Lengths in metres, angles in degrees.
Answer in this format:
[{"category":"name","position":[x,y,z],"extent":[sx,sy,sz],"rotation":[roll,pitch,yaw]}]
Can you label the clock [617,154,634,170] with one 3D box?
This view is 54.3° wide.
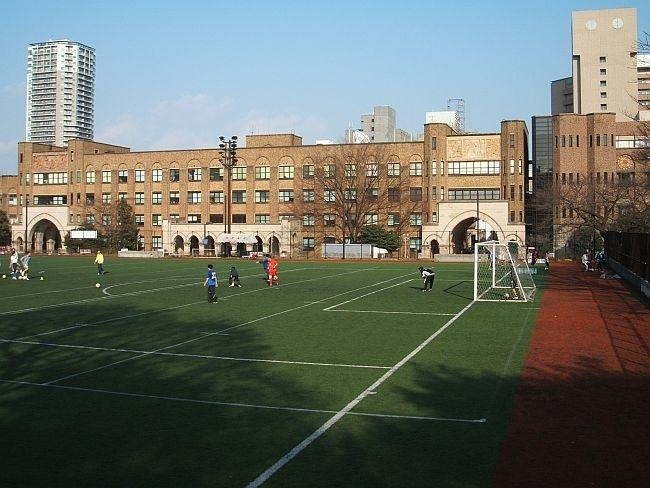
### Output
[{"category":"clock","position":[41.343,-11.253,87.036],"extent":[1.929,2.029,1.704],"rotation":[1,3,17]}]
